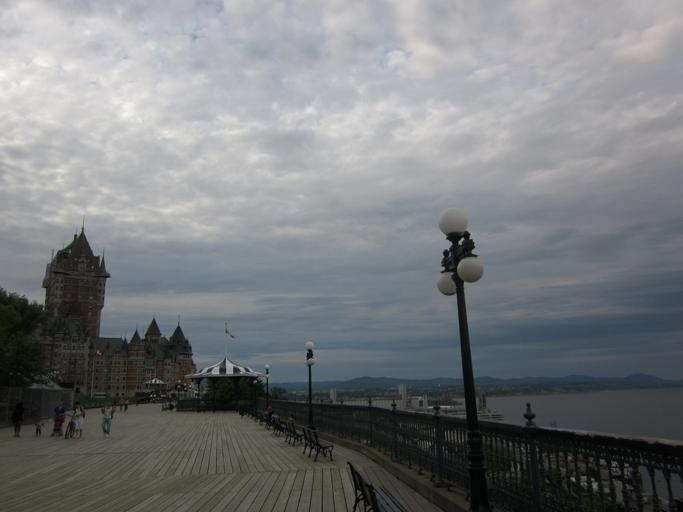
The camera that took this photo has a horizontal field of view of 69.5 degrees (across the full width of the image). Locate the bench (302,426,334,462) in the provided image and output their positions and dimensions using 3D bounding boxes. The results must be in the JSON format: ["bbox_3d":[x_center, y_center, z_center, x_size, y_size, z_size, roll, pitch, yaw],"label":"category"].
[{"bbox_3d":[-0.733,5.538,14.664,0.543,0.758,1.734,4,-14,-16],"label":"bench"}]
